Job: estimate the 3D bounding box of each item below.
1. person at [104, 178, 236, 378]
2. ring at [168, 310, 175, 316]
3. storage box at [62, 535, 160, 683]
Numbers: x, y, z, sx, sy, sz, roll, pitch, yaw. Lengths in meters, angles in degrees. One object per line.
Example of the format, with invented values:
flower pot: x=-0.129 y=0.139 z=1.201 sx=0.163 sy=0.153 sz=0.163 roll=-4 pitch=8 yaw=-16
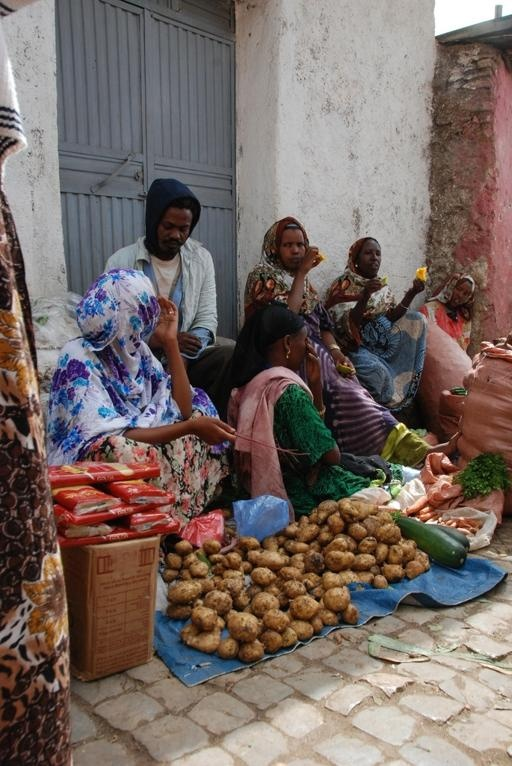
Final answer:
person: x=-0.565 y=-0.725 z=4.322 sx=0.897 sy=1.444 sz=0.739 roll=-7 pitch=15 yaw=-31
ring: x=-0.433 y=-0.356 z=3.110 sx=0.031 sy=0.029 sz=0.029 roll=7 pitch=32 yaw=-4
storage box: x=-0.465 y=0.696 z=2.056 sx=0.309 sy=0.426 sz=0.296 roll=-3 pitch=6 yaw=-34
